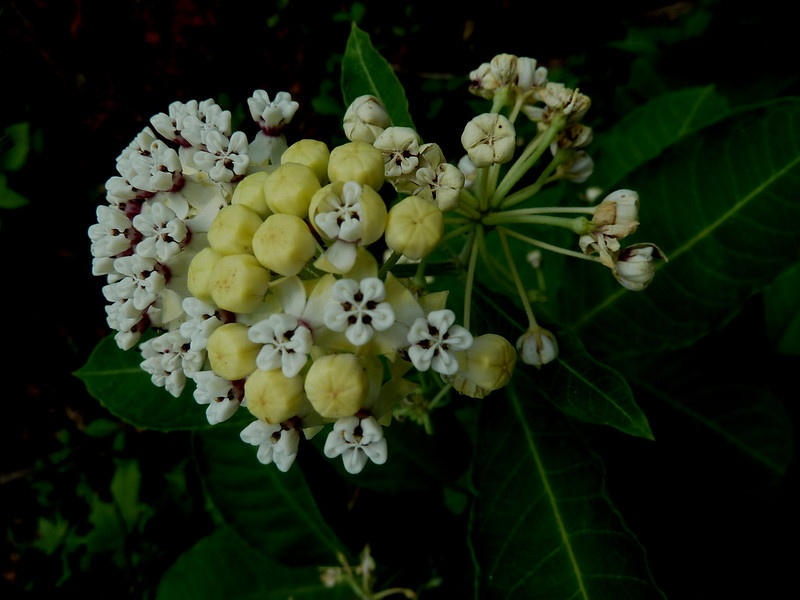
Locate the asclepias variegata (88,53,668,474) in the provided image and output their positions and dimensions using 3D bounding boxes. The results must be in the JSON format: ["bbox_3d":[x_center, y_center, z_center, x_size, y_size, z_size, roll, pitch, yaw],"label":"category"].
[{"bbox_3d":[-0.187,-0.174,3.526,1.939,1.095,1.446,-25,83,-5],"label":"asclepias variegata"}]
